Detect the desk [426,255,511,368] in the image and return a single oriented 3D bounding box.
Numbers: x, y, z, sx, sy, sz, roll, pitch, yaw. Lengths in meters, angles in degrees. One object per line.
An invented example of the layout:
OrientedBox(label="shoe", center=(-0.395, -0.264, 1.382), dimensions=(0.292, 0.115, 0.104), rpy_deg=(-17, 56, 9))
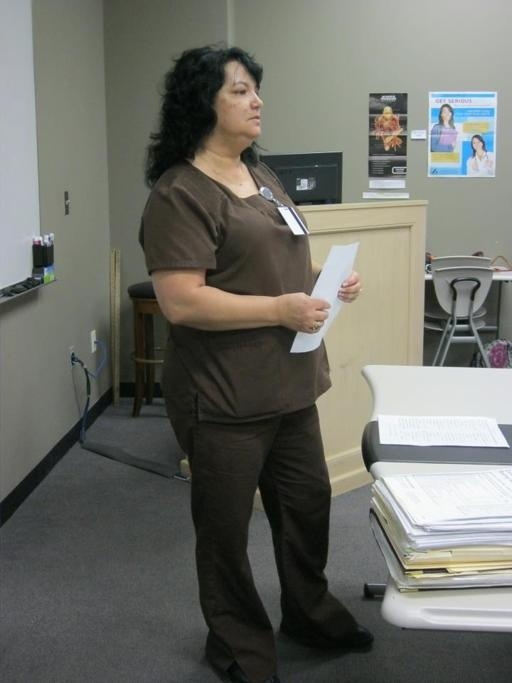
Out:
OrientedBox(label="desk", center=(1.508, -0.199, 3.956), dimensions=(0.588, 0.809, 0.740), rpy_deg=(1, 7, 17))

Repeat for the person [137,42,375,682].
OrientedBox(label="person", center=(0.007, 0.102, 1.238), dimensions=(0.512, 1.401, 0.403), rpy_deg=(-4, 7, -23))

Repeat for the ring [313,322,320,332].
OrientedBox(label="ring", center=(0.119, -0.029, 1.083), dimensions=(0.011, 0.016, 0.014), rpy_deg=(4, -3, -35))
